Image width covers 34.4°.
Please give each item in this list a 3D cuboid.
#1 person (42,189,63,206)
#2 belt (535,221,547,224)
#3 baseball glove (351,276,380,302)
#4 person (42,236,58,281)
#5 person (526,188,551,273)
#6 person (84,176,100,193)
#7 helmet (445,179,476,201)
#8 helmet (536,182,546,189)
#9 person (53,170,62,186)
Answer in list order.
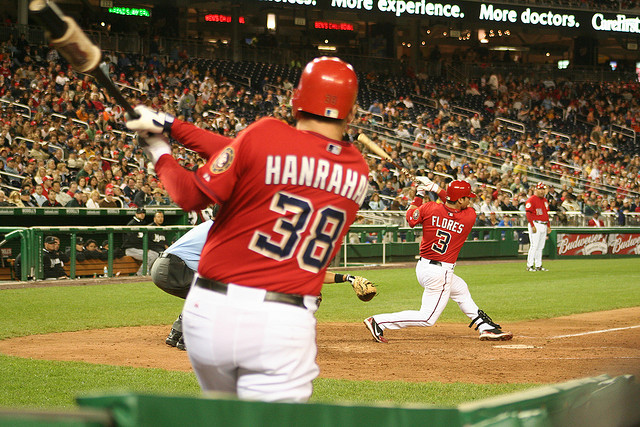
[{"bbox_3d":[-8.209,-0.339,31.974,0.726,0.622,0.364,1,-7,-28],"label":"person"},{"bbox_3d":[7.365,0.315,34.611,0.364,0.076,0.066,2,2,3],"label":"belt"},{"bbox_3d":[1.008,1.600,23.528,0.430,0.251,0.559,-6,32,0],"label":"baseball glove"},{"bbox_3d":[-8.055,1.358,30.924,0.397,1.328,0.372,1,3,-14],"label":"person"},{"bbox_3d":[7.309,0.588,34.886,0.795,2.778,0.828,3,3,11],"label":"person"},{"bbox_3d":[-7.200,-0.907,32.808,0.425,0.511,0.776,2,2,-9],"label":"person"},{"bbox_3d":[3.487,-0.564,25.823,0.615,0.348,0.423,-6,17,-27],"label":"helmet"},{"bbox_3d":[7.599,-0.940,35.655,0.461,0.257,0.657,1,2,14],"label":"helmet"},{"bbox_3d":[-8.223,-1.093,32.563,0.272,0.465,0.891,2,2,-12],"label":"person"}]
